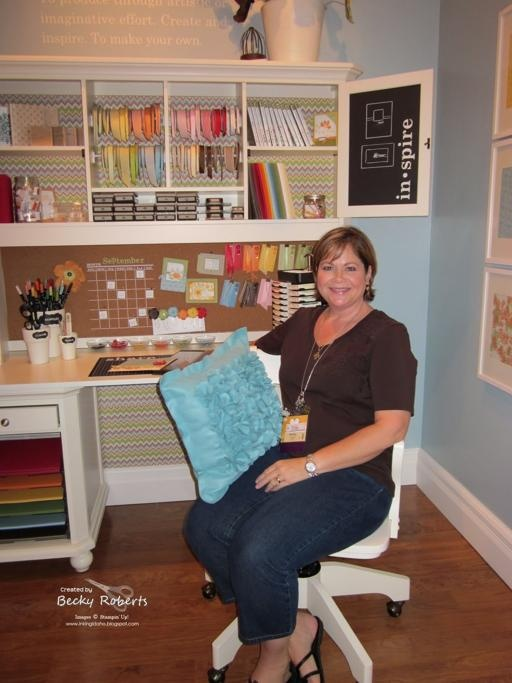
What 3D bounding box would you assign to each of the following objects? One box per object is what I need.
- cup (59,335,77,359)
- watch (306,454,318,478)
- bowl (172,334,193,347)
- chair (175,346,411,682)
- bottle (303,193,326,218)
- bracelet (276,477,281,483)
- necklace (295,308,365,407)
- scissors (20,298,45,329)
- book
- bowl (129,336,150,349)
[{"bbox_3d":[-0.794,0.014,2.226,0.089,0.133,0.089,-1,10,0],"label":"cup"},{"bbox_3d":[0.135,0.310,1.314,0.030,0.048,0.044,-16,7,-6],"label":"watch"},{"bbox_3d":[-0.348,-0.006,2.483,0.062,0.031,0.062,-2,4,0],"label":"bowl"},{"bbox_3d":[0.235,0.553,1.679,0.701,0.976,0.637,-1,2,-6],"label":"chair"},{"bbox_3d":[0.272,-0.634,2.484,0.111,0.115,0.110,2,11,18],"label":"bottle"},{"bbox_3d":[0.055,0.344,1.322,0.013,0.012,0.003,2,3,7],"label":"bracelet"},{"bbox_3d":[0.211,0.057,1.544,0.319,0.009,0.109,-55,2,-36],"label":"necklace"},{"bbox_3d":[-0.914,-0.113,2.160,0.088,0.120,0.127,-5,8,-22],"label":"scissors"},{"bbox_3d":[0.058,-0.815,2.366,0.140,0.462,0.342,-16,0,23],"label":"book"},{"bbox_3d":[-0.542,-0.004,2.454,0.063,0.028,0.063,-1,7,0],"label":"bowl"}]
